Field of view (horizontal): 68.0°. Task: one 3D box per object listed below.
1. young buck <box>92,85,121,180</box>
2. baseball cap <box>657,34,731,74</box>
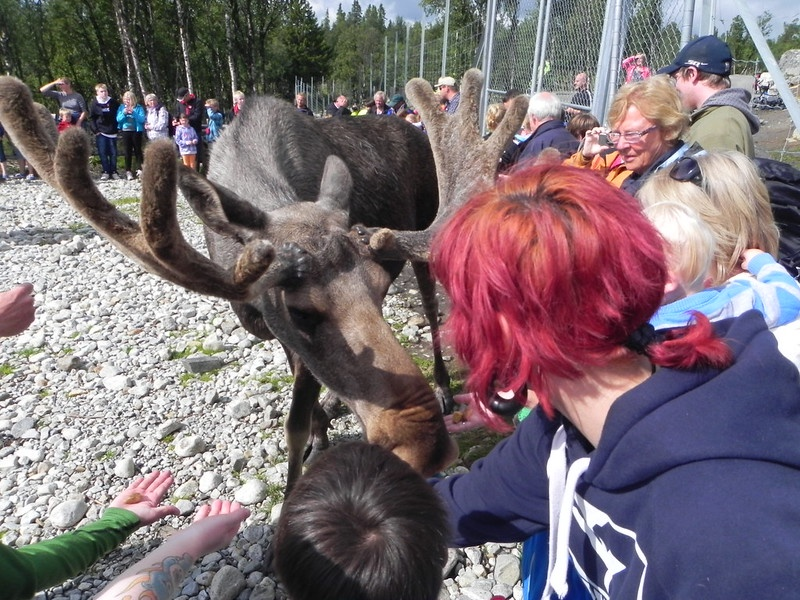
[{"bbox_3d":[-7.451,-4.336,14.971,0.687,2.848,0.798,4,24,-27],"label":"young buck"},{"bbox_3d":[2.178,-1.743,4.375,0.295,0.356,0.483,-15,27,-40],"label":"baseball cap"}]
